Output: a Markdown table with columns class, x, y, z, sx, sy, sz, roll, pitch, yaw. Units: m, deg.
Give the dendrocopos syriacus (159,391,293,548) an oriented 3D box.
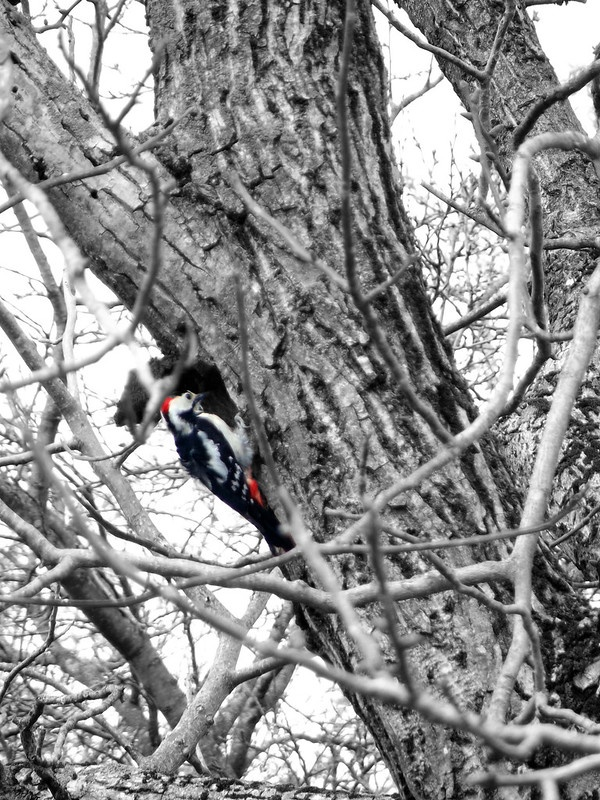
| class | x | y | z | sx | sy | sz | roll | pitch | yaw |
| --- | --- | --- | --- | --- | --- | --- | --- | --- | --- |
| dendrocopos syriacus | -0.240 | 0.197 | 5.601 | 0.294 | 0.673 | 0.206 | -18 | -29 | -21 |
